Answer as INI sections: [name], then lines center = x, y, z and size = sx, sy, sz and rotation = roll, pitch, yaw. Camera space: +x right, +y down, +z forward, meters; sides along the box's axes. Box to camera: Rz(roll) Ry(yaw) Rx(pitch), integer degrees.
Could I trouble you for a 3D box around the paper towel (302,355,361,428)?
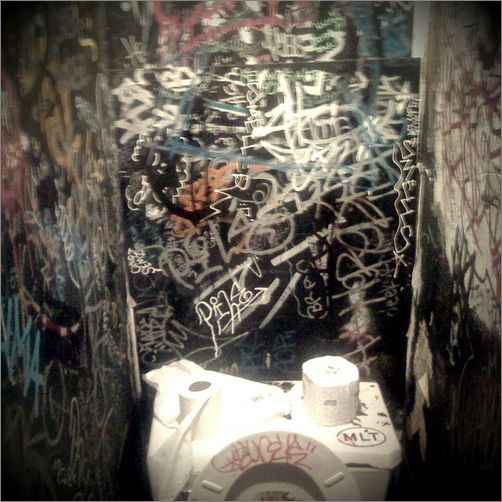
[paper towel]
center = 0.469, 0.852, 3.383
size = 0.348, 0.226, 0.316
rotation = -4, 8, -5
